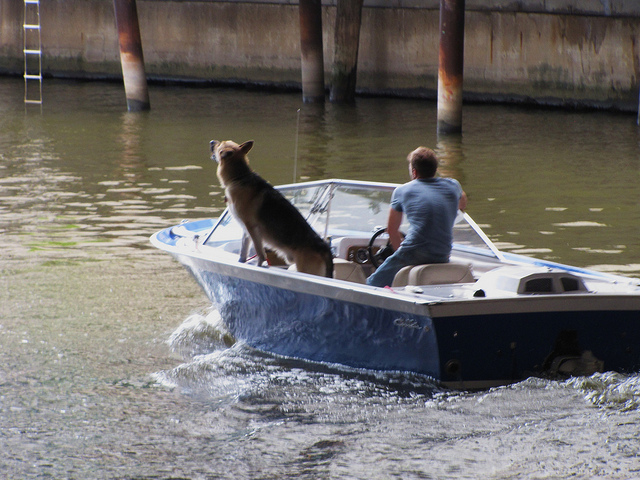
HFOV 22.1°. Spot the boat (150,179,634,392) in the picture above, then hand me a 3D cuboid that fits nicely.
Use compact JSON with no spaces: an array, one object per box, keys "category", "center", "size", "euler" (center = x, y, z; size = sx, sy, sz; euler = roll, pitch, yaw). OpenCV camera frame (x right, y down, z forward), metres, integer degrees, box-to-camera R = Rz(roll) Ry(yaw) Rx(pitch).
[{"category":"boat","center":[0.905,1.145,23.601],"size":[5.939,1.984,3.289],"euler":[12,20,37]}]
